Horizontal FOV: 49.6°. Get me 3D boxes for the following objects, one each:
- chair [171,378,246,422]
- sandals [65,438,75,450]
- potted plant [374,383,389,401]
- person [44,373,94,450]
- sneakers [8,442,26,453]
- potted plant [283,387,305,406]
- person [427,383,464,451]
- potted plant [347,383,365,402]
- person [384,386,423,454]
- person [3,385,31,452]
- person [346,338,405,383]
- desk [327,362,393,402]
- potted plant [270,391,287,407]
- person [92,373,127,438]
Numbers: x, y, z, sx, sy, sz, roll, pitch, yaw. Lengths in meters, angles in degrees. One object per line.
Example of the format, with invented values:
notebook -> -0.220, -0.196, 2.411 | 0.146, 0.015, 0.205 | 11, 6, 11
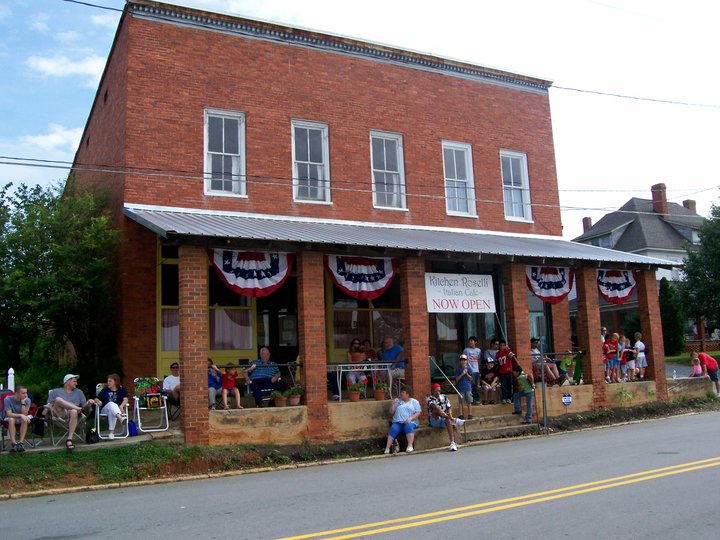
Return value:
chair -> -4.070, 3.293, 19.311 | 1.302, 0.948, 1.990 | -2, -3, -14
sandals -> -6.276, 3.762, 16.883 | 0.186, 0.213, 0.408 | -1, -3, -21
potted plant -> 0.618, 3.177, 20.343 | 0.445, 0.438, 0.452 | -6, -10, 25
person -> -6.529, 3.149, 17.586 | 0.998, 1.517, 1.812 | -1, -3, -29
sneakers -> -7.268, 3.786, 16.551 | 0.380, 0.158, 0.135 | -2, -4, 23
potted plant -> -1.615, 3.126, 19.221 | 0.403, 0.345, 0.407 | -12, -14, 39
person -> 2.196, 3.744, 19.983 | 0.706, 1.589, 1.227 | -1, -3, -22
potted plant -> -0.024, 3.165, 20.316 | 0.564, 0.557, 0.528 | 2, -11, -15
person -> 1.032, 3.761, 19.552 | 1.013, 1.599, 0.745 | -2, -3, -9
person -> -7.443, 3.207, 16.988 | 0.583, 1.341, 1.123 | -1, -3, -25
person -> 0.436, 2.614, 22.045 | 1.469, 0.338, 1.371 | -2, 6, -14
desk -> 0.033, 2.963, 21.516 | 1.418, 0.675, 1.405 | 2, -14, -7
potted plant -> -1.972, 3.177, 19.066 | 0.331, 0.228, 0.325 | 9, -14, -40
person -> -5.715, 3.123, 17.959 | 0.669, 1.387, 1.100 | -1, -3, -19
